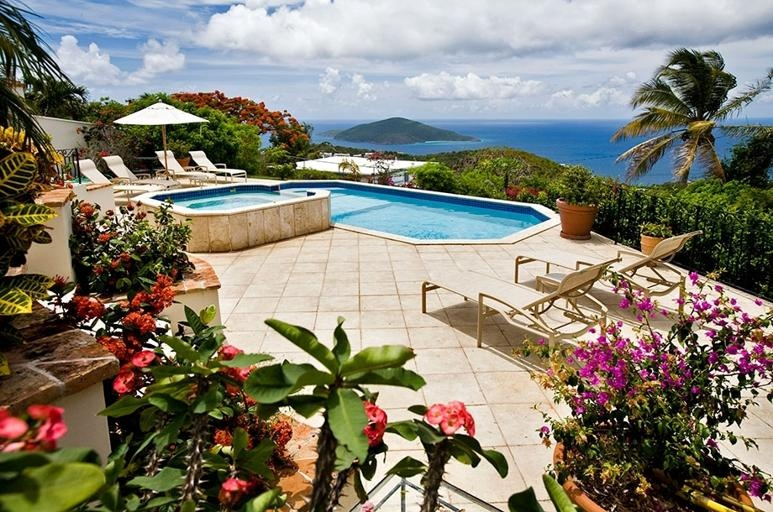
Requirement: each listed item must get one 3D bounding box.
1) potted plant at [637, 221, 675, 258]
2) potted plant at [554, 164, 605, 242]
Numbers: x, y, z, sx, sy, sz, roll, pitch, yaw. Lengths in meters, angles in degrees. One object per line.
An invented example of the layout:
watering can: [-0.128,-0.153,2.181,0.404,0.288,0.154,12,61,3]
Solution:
potted plant: [4.711,-0.269,8.407,0.427,0.448,0.416,9,16,-2]
potted plant: [4.118,-1.153,10.024,1.020,1.486,0.982,15,23,28]
